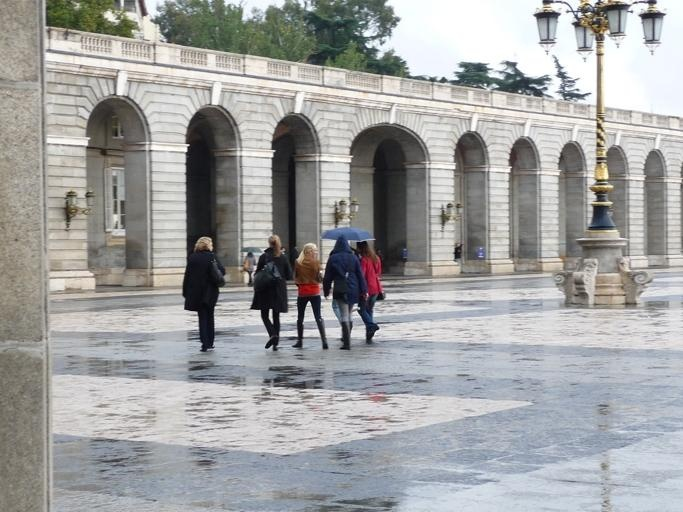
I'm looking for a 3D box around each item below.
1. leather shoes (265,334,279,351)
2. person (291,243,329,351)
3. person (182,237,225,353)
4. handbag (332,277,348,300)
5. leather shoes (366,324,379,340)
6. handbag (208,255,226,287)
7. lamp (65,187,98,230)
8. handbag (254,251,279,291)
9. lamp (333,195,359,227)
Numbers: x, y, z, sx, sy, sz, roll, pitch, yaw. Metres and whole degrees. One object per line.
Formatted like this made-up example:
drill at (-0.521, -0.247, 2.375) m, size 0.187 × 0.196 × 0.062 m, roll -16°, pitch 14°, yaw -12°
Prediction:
leather shoes at (-1.072, 1.415, 18.191) m, size 0.105 × 0.196 × 0.193 m, roll 38°, pitch 18°, yaw -8°
person at (-0.493, 0.678, 18.447) m, size 0.540 × 1.689 × 0.806 m, roll -1°, pitch -2°, yaw -3°
person at (-2.159, 0.616, 18.306) m, size 0.633 × 1.814 × 1.390 m, roll -1°, pitch -2°, yaw -7°
handbag at (-0.010, 0.557, 18.464) m, size 0.307 × 0.324 × 0.115 m, roll 0°, pitch -1°, yaw 26°
leather shoes at (0.519, 1.320, 19.356) m, size 0.156 × 0.308 × 0.122 m, roll 28°, pitch 3°, yaw 17°
handbag at (-1.952, 0.279, 18.250) m, size 0.198 × 0.473 × 0.287 m, roll -1°, pitch -2°, yaw -6°
lamp at (-8.196, -1.399, 36.355) m, size 0.618 × 1.255 × 1.210 m, roll -2°, pitch -2°, yaw 16°
handbag at (-1.151, 0.348, 18.242) m, size 0.421 × 0.501 × 0.266 m, roll -1°, pitch -2°, yaw -4°
lamp at (0.236, -1.688, 45.771) m, size 1.093 × 1.189 × 1.373 m, roll -5°, pitch -6°, yaw 45°
